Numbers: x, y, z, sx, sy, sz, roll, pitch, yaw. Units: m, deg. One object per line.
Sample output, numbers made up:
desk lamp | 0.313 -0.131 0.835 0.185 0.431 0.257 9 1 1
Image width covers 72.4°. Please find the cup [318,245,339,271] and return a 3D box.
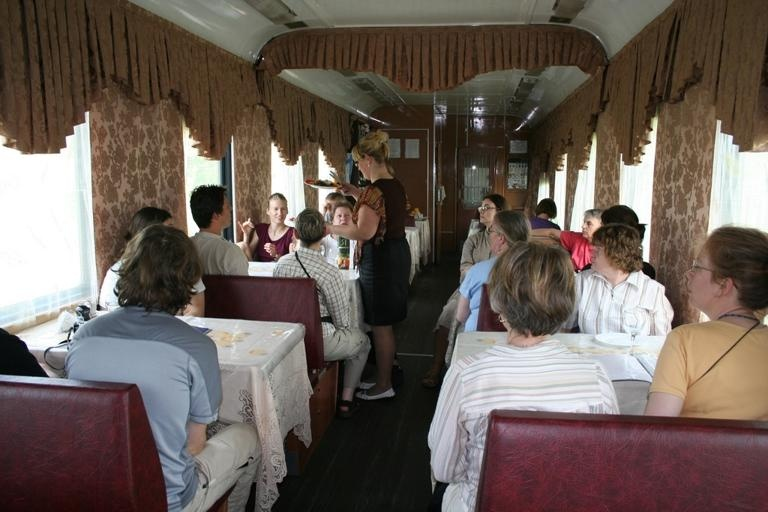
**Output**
cup | -0.581 0.013 5.485 0.230 0.365 0.237 -1 -28 -1

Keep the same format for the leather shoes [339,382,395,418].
leather shoes | -0.208 1.337 4.906 0.545 0.148 0.205 -18 24 -37
